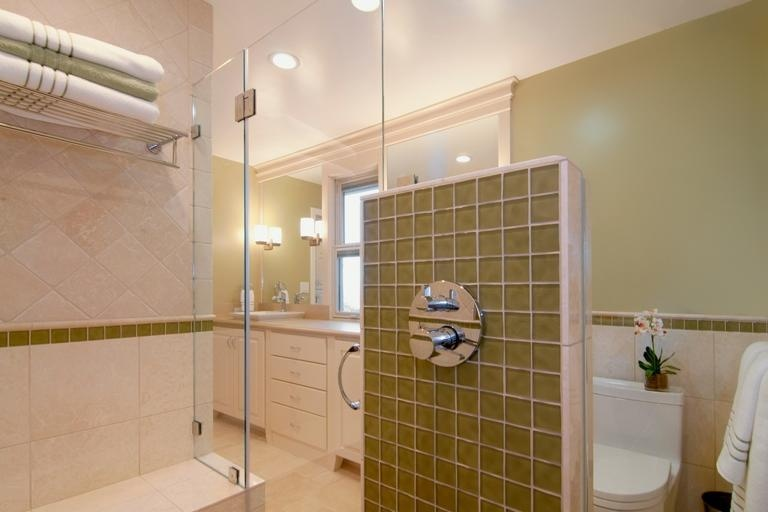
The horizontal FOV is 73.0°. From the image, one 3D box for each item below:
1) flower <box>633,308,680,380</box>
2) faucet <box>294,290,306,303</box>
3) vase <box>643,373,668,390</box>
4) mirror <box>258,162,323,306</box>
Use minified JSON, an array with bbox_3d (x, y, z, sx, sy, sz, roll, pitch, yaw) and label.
[{"bbox_3d":[0.896,0.284,1.722,0.182,0.159,0.069,2,-1,-17],"label":"flower"},{"bbox_3d":[-0.355,0.165,2.201,0.050,0.088,0.048,1,-5,-17],"label":"faucet"},{"bbox_3d":[0.893,0.410,1.704,0.064,0.048,0.065,-3,-5,35],"label":"vase"},{"bbox_3d":[-0.427,-0.074,2.264,0.393,0.536,0.035,1,-1,37],"label":"mirror"}]
